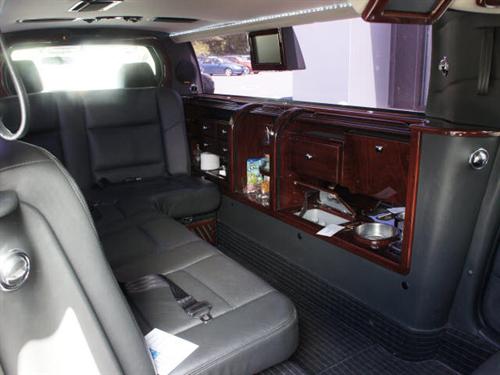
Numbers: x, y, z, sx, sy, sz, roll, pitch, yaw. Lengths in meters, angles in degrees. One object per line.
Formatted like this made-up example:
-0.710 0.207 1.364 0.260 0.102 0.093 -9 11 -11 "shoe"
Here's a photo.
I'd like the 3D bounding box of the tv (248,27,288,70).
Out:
0.152 -1.104 2.633 0.098 0.291 0.321 -15 22 -32 "tv"
